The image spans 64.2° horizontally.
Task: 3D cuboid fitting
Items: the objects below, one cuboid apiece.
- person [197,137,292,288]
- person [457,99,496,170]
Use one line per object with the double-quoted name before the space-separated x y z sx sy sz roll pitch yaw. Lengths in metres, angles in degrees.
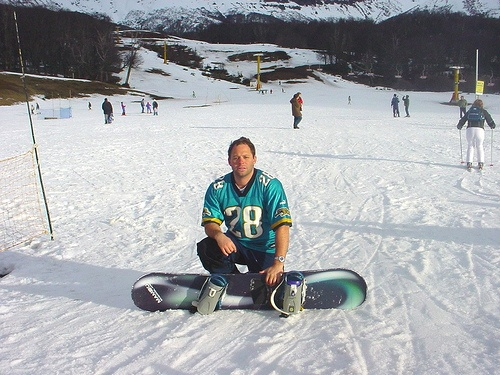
"person" -0.061 0.440 4.328 1.041 1.846 1.019 6 15 21
"person" 5.344 -1.327 9.618 0.723 1.583 1.568 7 15 30
